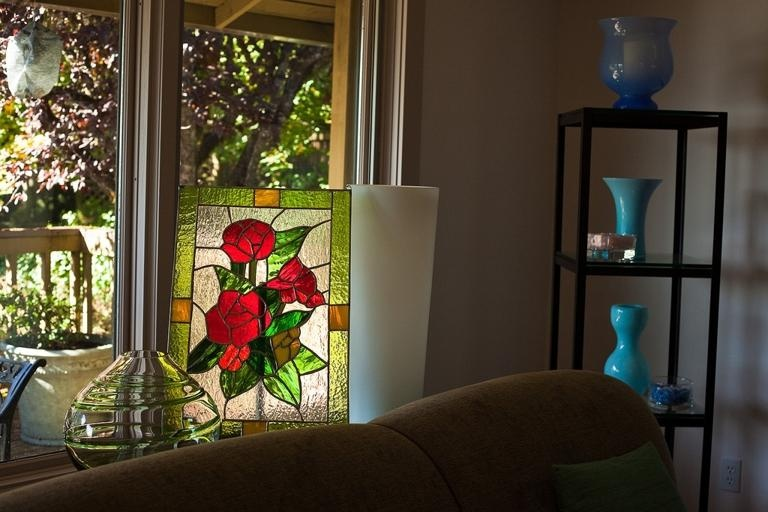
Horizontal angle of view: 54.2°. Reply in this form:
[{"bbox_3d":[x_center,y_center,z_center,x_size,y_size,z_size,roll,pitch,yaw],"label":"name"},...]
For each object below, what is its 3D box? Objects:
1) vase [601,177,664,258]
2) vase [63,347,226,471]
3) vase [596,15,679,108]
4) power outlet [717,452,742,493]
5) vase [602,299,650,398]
[{"bbox_3d":[1.007,-0.156,3.115,0.278,0.356,0.287,1,1,26],"label":"vase"},{"bbox_3d":[-0.678,0.403,2.143,0.324,0.304,0.329,-3,-3,19],"label":"vase"},{"bbox_3d":[0.997,-0.754,2.970,0.285,0.360,0.296,-1,7,3],"label":"vase"},{"bbox_3d":[1.460,0.929,3.167,0.078,0.138,0.014,-3,-14,44],"label":"power outlet"},{"bbox_3d":[0.969,0.403,2.995,0.168,0.410,0.169,3,6,27],"label":"vase"}]
